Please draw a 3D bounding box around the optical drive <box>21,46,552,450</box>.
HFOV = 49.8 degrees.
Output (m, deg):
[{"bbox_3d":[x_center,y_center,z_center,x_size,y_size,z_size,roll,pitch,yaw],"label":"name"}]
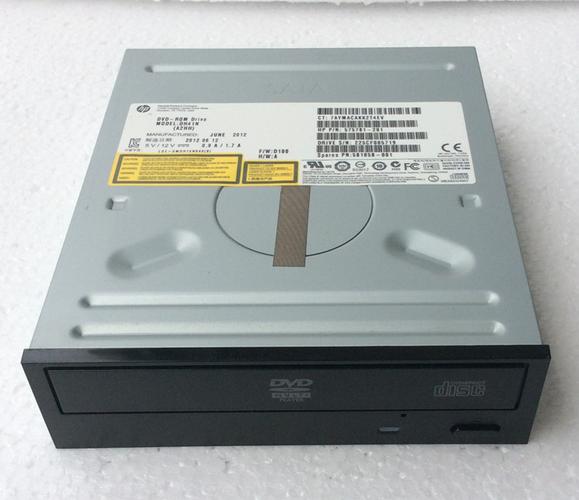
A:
[{"bbox_3d":[0.012,-0.042,1.210,0.805,0.338,0.787,-2,42,2],"label":"optical drive"}]
